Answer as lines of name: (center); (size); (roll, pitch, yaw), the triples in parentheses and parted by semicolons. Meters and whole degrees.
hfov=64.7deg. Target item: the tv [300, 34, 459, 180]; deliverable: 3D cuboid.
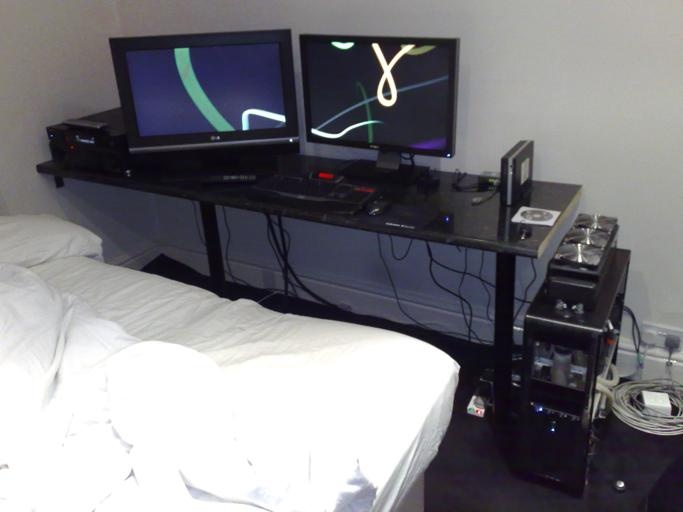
tv: (0.189, -0.686, 2.423); (0.603, 0.526, 0.192); (10, 34, 20)

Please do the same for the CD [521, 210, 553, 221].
CD: (0.768, -0.160, 2.127); (0.111, 0.011, 0.093); (9, 33, 15)

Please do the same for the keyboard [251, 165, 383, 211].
keyboard: (-0.098, -0.297, 2.414); (0.406, 0.041, 0.305); (9, 27, 17)

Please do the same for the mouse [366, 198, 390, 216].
mouse: (0.144, -0.209, 2.224); (0.059, 0.024, 0.079); (17, 42, 33)

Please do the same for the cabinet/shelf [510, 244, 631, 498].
cabinet/shelf: (0.822, 0.454, 2.178); (0.403, 0.886, 0.478); (11, 24, 26)
